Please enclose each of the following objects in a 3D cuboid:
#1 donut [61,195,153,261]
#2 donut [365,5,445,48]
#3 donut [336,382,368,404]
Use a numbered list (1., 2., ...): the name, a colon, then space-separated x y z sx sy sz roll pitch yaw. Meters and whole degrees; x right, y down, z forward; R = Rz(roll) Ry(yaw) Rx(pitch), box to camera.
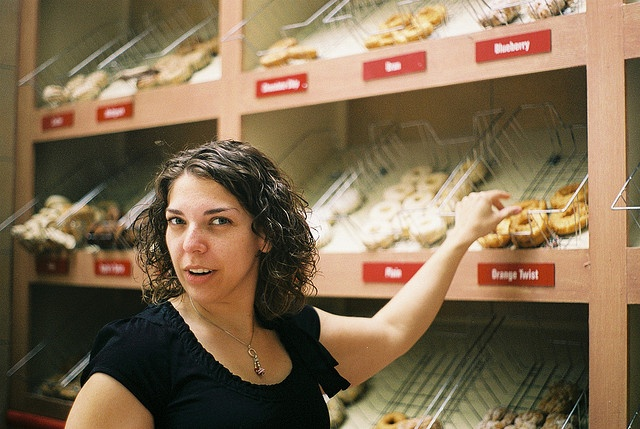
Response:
1. donut: -0.891 0.083 2.405 0.359 0.110 0.370 -3 42 10
2. donut: 0.305 -0.662 1.913 0.248 0.068 0.153 -27 28 12
3. donut: 0.132 0.702 2.089 0.083 0.021 0.086 -26 -2 17
